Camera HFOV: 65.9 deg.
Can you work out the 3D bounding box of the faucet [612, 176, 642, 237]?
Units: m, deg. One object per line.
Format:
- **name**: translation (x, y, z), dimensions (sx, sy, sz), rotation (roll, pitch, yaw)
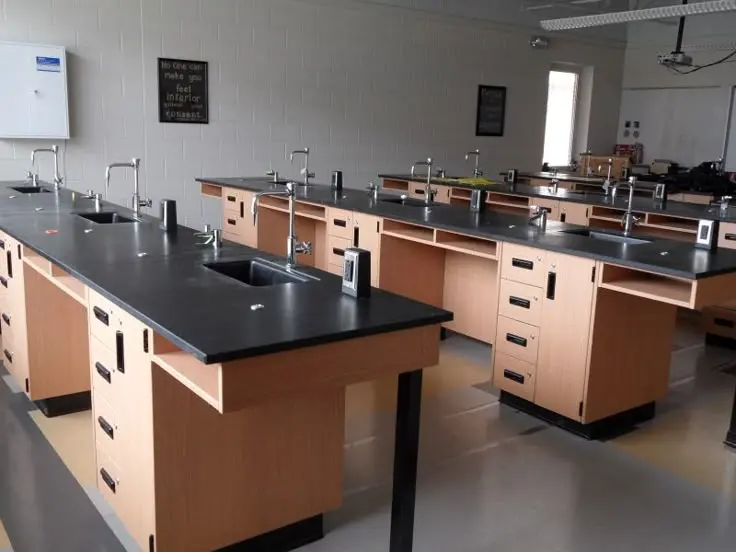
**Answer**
- **faucet**: translation (1.813, -0.486, 3.939), dimensions (0.158, 0.383, 0.109), rotation (1, 6, -16)
